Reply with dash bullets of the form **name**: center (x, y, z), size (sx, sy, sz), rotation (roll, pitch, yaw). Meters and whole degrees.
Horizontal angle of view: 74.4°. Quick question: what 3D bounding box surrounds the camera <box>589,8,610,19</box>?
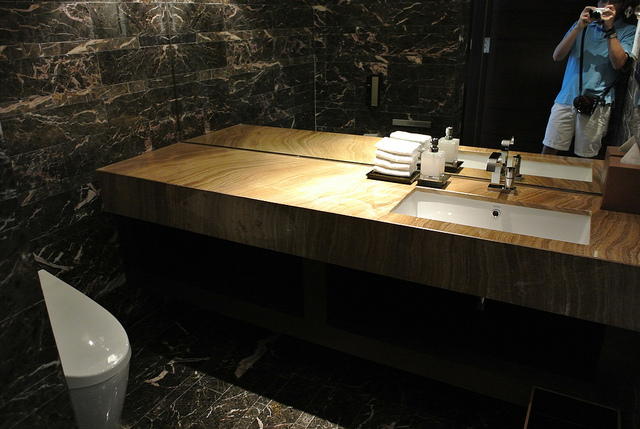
- **camera**: center (1.295, -0.935, 1.943), size (0.063, 0.038, 0.021), rotation (4, 16, 9)

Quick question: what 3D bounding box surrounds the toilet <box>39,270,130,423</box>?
- **toilet**: center (-1.164, 0.496, 2.053), size (0.465, 0.203, 0.898), rotation (-14, 30, -26)
